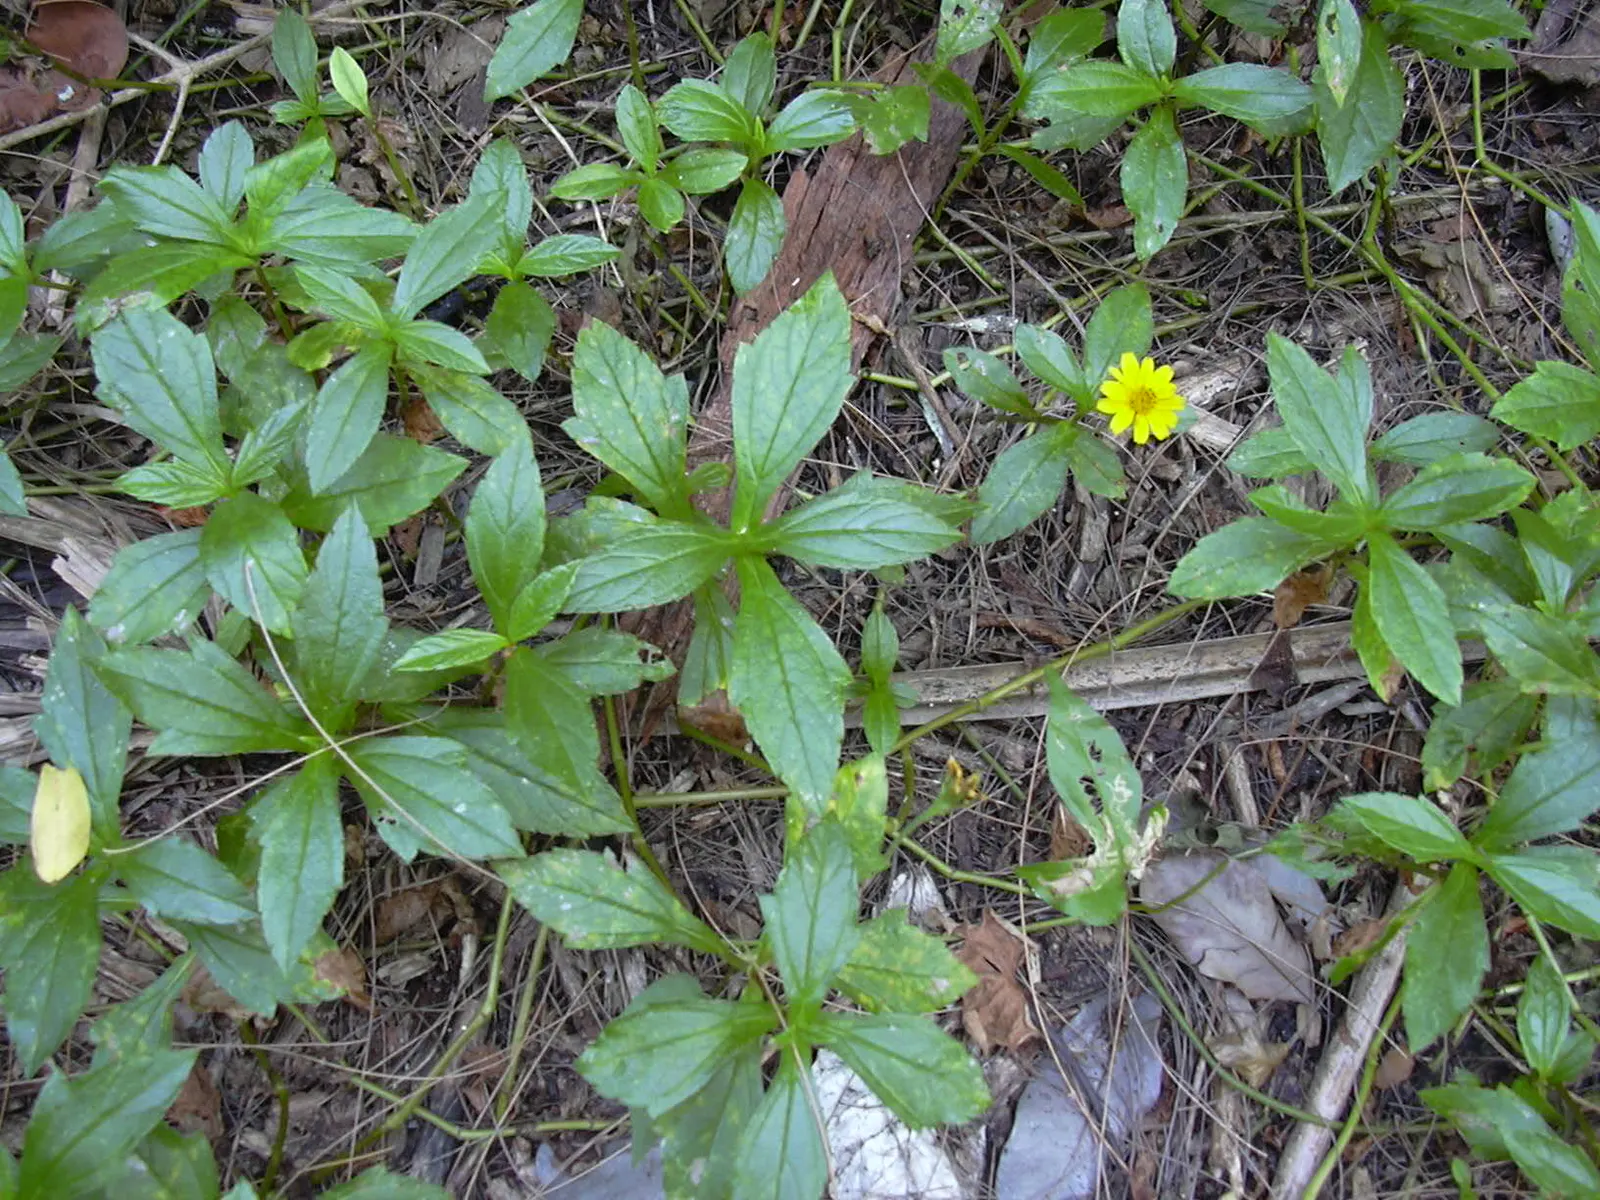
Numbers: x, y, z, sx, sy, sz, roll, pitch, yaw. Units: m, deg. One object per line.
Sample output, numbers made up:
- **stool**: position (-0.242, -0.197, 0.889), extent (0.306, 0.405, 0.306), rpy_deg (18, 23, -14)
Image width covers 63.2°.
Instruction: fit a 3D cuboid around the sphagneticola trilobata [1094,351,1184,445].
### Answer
- **sphagneticola trilobata**: position (0.881, -0.518, 3.396), extent (0.231, 0.059, 0.235), rpy_deg (44, 90, 1)
